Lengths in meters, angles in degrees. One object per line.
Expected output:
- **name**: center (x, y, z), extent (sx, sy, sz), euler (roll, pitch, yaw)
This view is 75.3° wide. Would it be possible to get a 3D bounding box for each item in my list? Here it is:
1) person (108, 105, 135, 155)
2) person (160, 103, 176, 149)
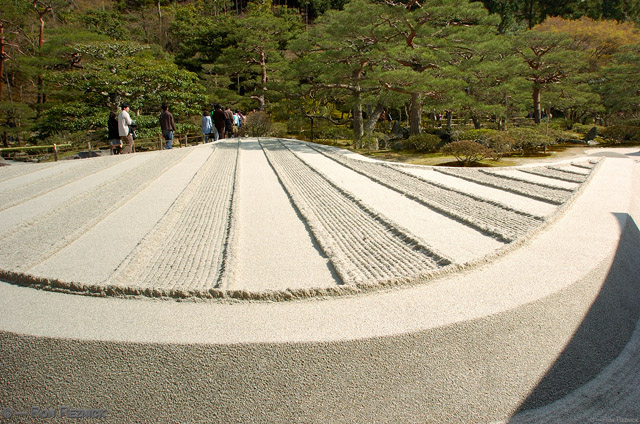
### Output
- **person**: center (-4.654, -1.904, 9.654), extent (0.551, 1.105, 0.898), euler (-7, 17, -26)
- **person**: center (-4.046, -2.187, 10.943), extent (0.299, 1.159, 1.533), euler (-5, 16, -20)
